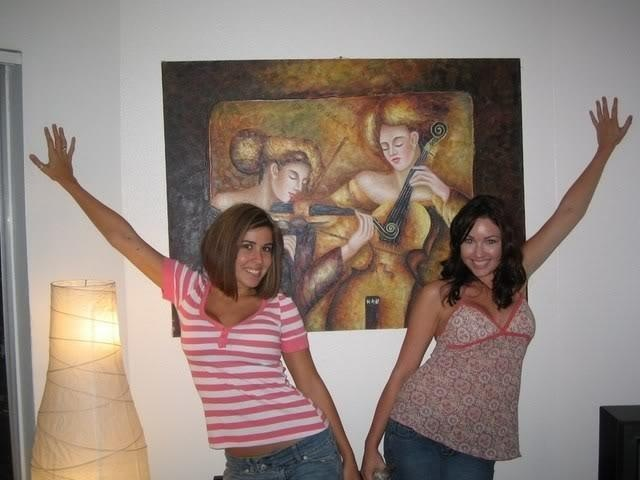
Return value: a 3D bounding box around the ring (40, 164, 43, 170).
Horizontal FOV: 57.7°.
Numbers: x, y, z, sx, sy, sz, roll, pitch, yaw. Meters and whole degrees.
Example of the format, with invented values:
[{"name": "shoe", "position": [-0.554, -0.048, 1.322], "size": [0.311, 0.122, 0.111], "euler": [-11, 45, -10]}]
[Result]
[{"name": "ring", "position": [-1.245, -0.336, 2.675], "size": [0.015, 0.007, 0.020], "euler": [3, -26, -5]}]
